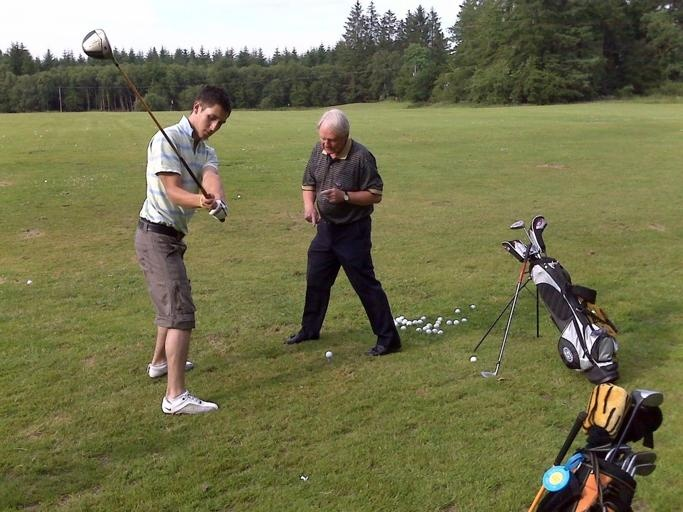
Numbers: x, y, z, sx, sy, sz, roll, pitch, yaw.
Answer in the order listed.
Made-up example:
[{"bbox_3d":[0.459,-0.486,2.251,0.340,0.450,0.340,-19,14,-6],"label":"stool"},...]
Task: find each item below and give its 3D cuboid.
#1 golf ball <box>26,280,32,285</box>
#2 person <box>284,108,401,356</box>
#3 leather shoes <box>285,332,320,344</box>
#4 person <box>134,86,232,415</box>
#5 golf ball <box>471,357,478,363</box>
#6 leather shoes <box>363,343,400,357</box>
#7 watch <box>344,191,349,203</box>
[{"bbox_3d":[-4.467,0.360,8.026,0.061,0.034,0.080,-10,12,-6],"label":"golf ball"},{"bbox_3d":[-0.077,-0.259,6.038,1.233,2.544,1.000,6,12,35],"label":"person"},{"bbox_3d":[-0.428,0.919,6.369,0.379,0.150,0.134,2,2,-12],"label":"leather shoes"},{"bbox_3d":[-1.497,-0.086,5.243,1.306,2.618,0.907,0,2,-2],"label":"person"},{"bbox_3d":[1.372,1.054,5.726,0.050,0.026,0.048,-6,3,0],"label":"golf ball"},{"bbox_3d":[0.453,0.983,6.045,0.400,0.167,0.133,-2,11,-9],"label":"leather shoes"},{"bbox_3d":[0.066,-0.605,5.674,0.061,0.079,0.073,-3,36,-1],"label":"watch"}]
